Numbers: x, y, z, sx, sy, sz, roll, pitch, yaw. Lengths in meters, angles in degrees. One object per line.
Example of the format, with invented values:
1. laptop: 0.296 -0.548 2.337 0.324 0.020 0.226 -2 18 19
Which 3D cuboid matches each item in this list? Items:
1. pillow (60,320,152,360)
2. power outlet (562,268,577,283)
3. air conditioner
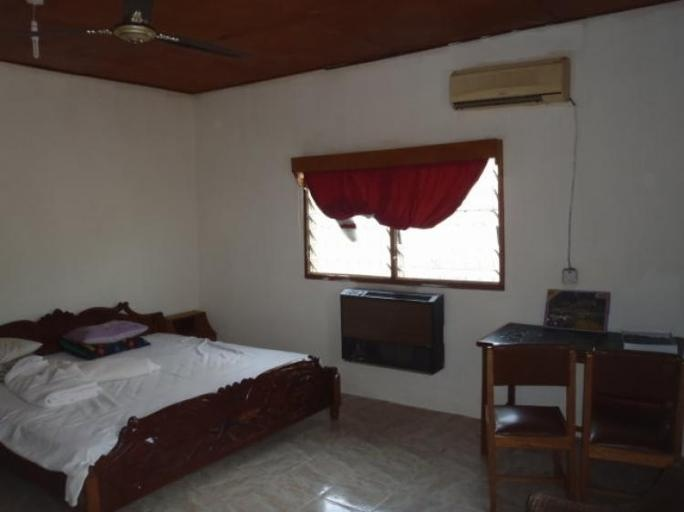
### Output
1. pillow: -2.272 0.812 5.322 0.397 0.176 0.499 11 9 41
2. power outlet: 1.977 0.178 4.747 0.125 0.151 0.036 2 12 16
3. air conditioner: 1.326 -1.371 4.400 0.933 0.341 0.262 2 12 16
